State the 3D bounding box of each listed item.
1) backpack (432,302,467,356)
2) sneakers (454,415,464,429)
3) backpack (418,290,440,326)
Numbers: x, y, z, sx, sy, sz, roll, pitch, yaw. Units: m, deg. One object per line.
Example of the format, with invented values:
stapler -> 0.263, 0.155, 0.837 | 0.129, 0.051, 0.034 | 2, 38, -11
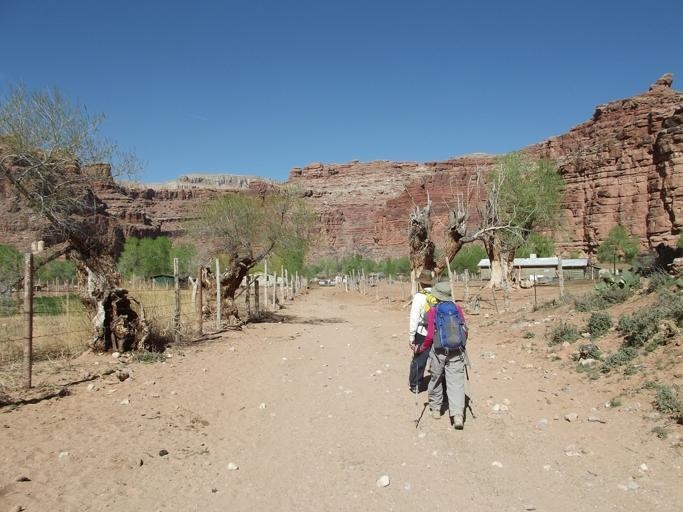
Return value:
backpack -> 1.914, 1.262, 8.759 | 0.529, 0.864, 0.456 | -1, -16, -15
sneakers -> 2.058, 2.919, 8.529 | 0.155, 0.246, 0.129 | 2, 5, 8
backpack -> 1.606, 0.898, 9.033 | 0.362, 0.534, 0.546 | 1, -17, -7
